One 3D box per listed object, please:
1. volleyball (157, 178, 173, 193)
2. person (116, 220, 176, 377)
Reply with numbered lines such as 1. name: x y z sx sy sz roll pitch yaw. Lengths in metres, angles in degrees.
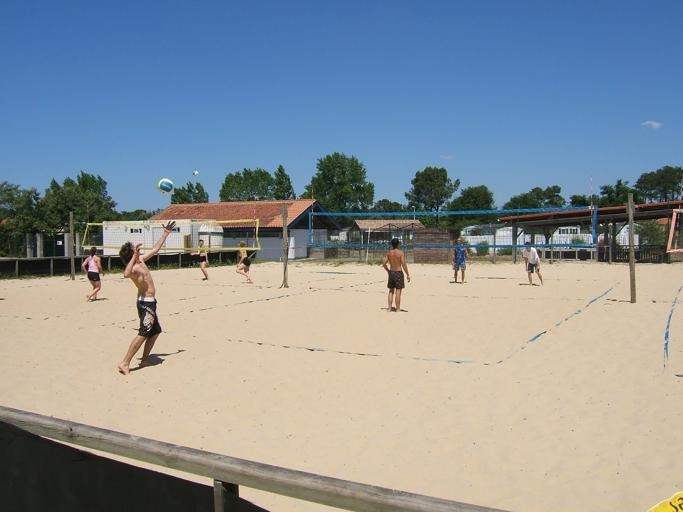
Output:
1. volleyball: -4.017 -1.577 15.825 0.222 0.278 0.471 4 10 25
2. person: -2.386 0.474 8.448 0.712 1.761 1.100 -3 9 -15
